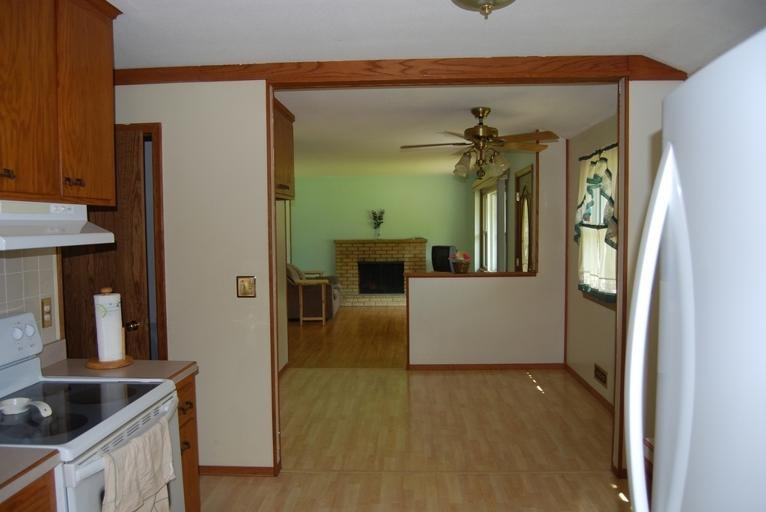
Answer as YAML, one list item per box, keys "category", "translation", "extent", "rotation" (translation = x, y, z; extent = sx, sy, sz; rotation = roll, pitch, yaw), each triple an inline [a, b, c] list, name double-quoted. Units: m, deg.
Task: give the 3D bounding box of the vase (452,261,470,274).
- category: "vase"
  translation: [0.798, 0.124, 5.668]
  extent: [0.132, 0.087, 0.130]
  rotation: [0, -3, -5]

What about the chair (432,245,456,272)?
- category: "chair"
  translation: [0.680, 0.034, 6.362]
  extent: [0.224, 0.311, 0.312]
  rotation: [2, 2, 44]

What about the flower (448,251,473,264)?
- category: "flower"
  translation: [0.791, 0.024, 5.677]
  extent: [0.151, 0.092, 0.158]
  rotation: [0, -2, -3]

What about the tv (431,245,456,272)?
- category: "tv"
  translation: [0.694, 0.032, 6.377]
  extent: [0.223, 0.309, 0.313]
  rotation: [2, 2, 44]

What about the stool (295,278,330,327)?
- category: "stool"
  translation: [-0.973, 0.653, 7.810]
  extent: [0.428, 0.631, 0.331]
  rotation: [-2, 8, -7]

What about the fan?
- category: "fan"
  translation: [0.920, -0.944, 4.489]
  extent: [0.734, 0.196, 0.680]
  rotation: [-1, 4, -33]
